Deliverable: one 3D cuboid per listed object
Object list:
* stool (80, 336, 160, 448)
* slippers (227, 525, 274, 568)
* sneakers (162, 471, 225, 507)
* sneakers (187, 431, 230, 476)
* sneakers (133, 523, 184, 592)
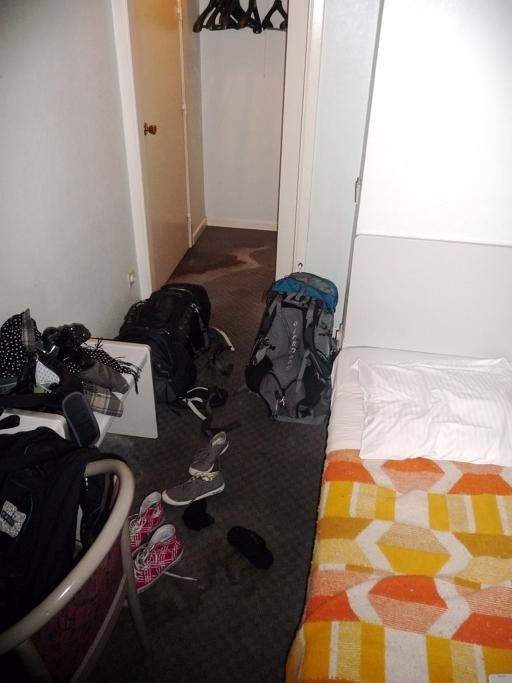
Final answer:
[{"bbox_3d":[-0.489,0.235,2.138,0.335,0.370,0.495,4,39,-4],"label":"stool"},{"bbox_3d":[-0.022,0.724,1.810,0.081,0.061,0.166,7,17,-41],"label":"slippers"},{"bbox_3d":[-0.238,0.578,2.041,0.271,0.101,0.103,-12,45,-16],"label":"sneakers"},{"bbox_3d":[-0.199,0.477,2.160,0.082,0.081,0.225,16,36,19],"label":"sneakers"},{"bbox_3d":[-0.337,0.731,1.769,0.092,0.098,0.251,24,27,16],"label":"sneakers"}]
